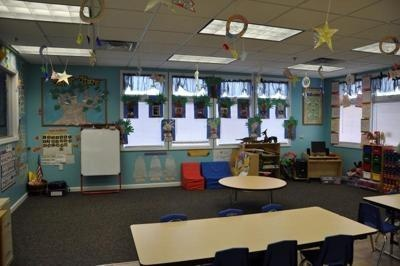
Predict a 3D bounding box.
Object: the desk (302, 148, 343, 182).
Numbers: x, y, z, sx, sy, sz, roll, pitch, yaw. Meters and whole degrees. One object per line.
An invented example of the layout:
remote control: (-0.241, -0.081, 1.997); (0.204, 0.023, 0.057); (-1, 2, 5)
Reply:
desk: (4.205, 1.027, 10.295); (1.176, 1.045, 0.872); (0, -1, -1)

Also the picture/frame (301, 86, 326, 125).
picture/frame: (4.088, -0.967, 10.755); (0.866, 1.328, 0.239); (-4, 10, -23)

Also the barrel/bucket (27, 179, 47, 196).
barrel/bucket: (-4.621, 1.578, 8.428); (0.429, 0.319, 0.335); (1, 2, -5)

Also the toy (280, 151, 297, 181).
toy: (3.055, 1.107, 10.285); (0.482, 0.868, 0.461); (3, 9, 16)
